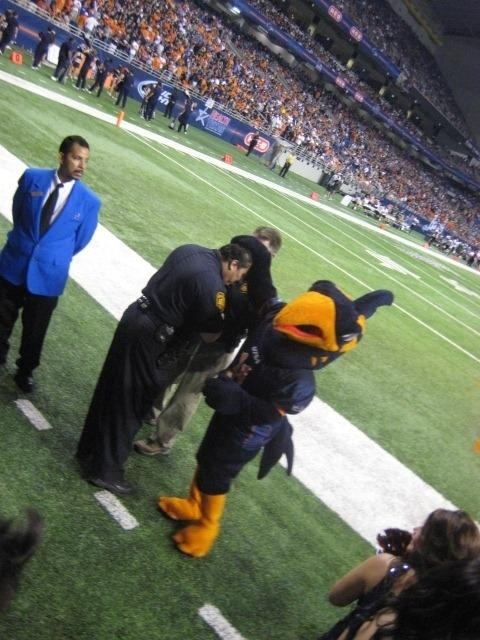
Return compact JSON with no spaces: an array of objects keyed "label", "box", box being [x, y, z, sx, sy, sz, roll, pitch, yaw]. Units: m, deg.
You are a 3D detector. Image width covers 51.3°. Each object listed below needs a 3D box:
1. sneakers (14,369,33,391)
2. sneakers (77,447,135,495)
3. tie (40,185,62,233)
[{"label":"sneakers","box":[-1.458,0.418,3.420,0.123,0.141,0.041,7,32,22]},{"label":"sneakers","box":[-0.803,0.889,2.931,0.205,0.330,0.208,36,20,23]},{"label":"tie","box":[-1.196,-0.715,3.155,0.051,0.306,0.048,21,16,-24]}]
